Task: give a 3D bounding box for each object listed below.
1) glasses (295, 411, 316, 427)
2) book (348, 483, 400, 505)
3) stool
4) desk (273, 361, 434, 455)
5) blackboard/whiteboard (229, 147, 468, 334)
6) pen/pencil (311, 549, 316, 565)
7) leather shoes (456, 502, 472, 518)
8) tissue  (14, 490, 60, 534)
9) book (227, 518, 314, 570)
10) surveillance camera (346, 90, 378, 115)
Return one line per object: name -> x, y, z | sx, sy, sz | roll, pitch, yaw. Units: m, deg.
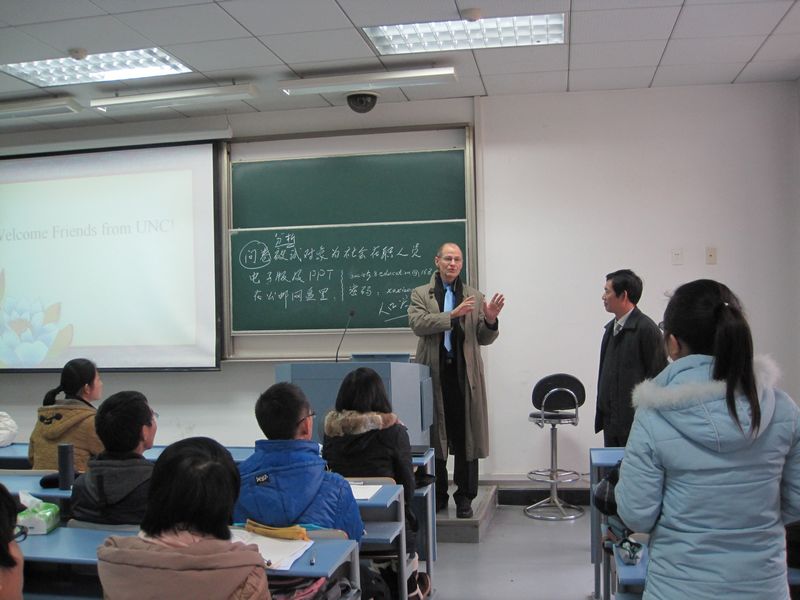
glasses -> -0.348, 0.435, 2.354 | 0.062, 0.021, 0.064 | -20, 6, -20
book -> -0.114, 0.823, 2.721 | 0.118, 0.031, 0.125 | -1, 4, 12
stool -> 1.151, 1.060, 4.847 | 0.457, 1.049, 0.590 | -2, 2, 16
desk -> -0.180, 0.504, 3.631 | 0.609, 0.517, 0.633 | -1, -3, 19
blackboard/whiteboard -> -0.368, -0.472, 5.356 | 1.436, 1.145, 0.060 | -1, -2, 11
pen/pencil -> -0.283, 0.842, 2.076 | 0.008, 0.026, 0.010 | 2, -26, 10
leather shoes -> 0.426, 1.433, 4.351 | 0.111, 0.084, 0.104 | -2, 1, 7
tissue  -> -1.379, 0.809, 2.439 | 0.113, 0.126, 0.121 | 1, -2, 1
book -> -0.412, 0.828, 2.127 | 0.185, 0.073, 0.188 | 12, 5, 17
surveillance camera -> -0.325, -1.573, 5.137 | 0.162, 0.118, 0.171 | -1, -3, -8
